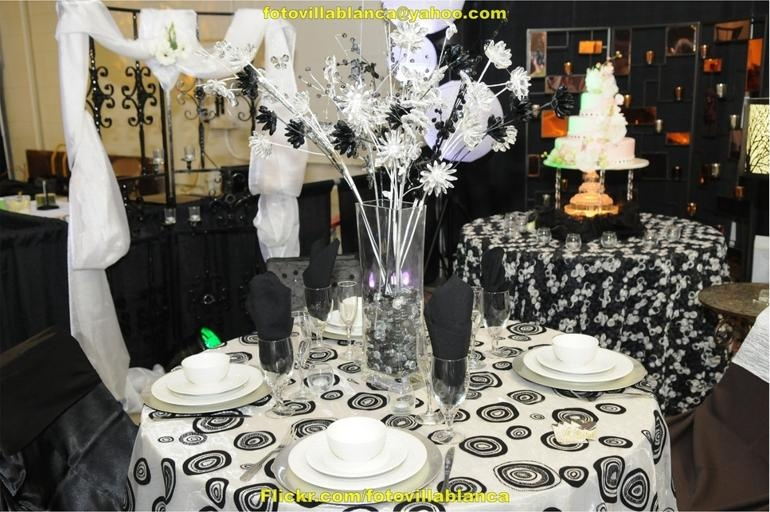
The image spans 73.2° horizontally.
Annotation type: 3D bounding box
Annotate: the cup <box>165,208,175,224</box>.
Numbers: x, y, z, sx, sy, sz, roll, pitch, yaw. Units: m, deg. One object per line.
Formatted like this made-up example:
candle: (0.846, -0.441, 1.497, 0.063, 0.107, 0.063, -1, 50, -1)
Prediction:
cup: (-1.841, -0.327, 4.420, 0.121, 0.127, 0.097, -2, 6, -38)

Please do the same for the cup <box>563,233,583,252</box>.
cup: (1.375, -0.090, 3.766, 0.127, 0.131, 0.130, -3, 5, 0)

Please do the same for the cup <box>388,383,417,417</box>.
cup: (0.064, 0.547, 1.957, 0.088, 0.087, 0.089, -1, 5, 0)

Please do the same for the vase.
vase: (0.049, 0.159, 2.099, 0.314, 0.783, 0.318, 14, 21, 39)

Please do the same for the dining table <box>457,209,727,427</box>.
dining table: (1.602, 0.224, 4.263, 1.589, 1.435, 1.597, -3, 12, 0)

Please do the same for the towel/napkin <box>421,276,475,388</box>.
towel/napkin: (0.207, 0.301, 1.734, 0.143, 0.393, 0.125, -8, 20, -9)

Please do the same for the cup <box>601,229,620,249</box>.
cup: (1.636, -0.116, 3.747, 0.118, 0.116, 0.120, -3, 11, 1)

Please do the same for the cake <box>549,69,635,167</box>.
cake: (1.676, -1.203, 4.399, 0.790, 0.845, 0.773, -6, 16, -10)

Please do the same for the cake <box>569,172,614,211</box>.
cake: (1.762, -0.539, 4.397, 0.415, 0.339, 0.411, -5, 8, -30)

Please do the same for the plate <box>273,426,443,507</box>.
plate: (-0.082, 0.646, 1.596, 0.514, 0.107, 0.267, -6, 15, -14)

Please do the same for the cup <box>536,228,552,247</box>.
cup: (1.206, -0.134, 3.917, 0.137, 0.158, 0.121, -3, 8, 6)

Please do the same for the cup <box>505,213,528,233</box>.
cup: (1.091, -0.267, 4.277, 0.172, 0.151, 0.174, -1, 6, 0)

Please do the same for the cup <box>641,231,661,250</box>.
cup: (1.936, -0.103, 3.762, 0.152, 0.150, 0.155, -1, 4, 0)

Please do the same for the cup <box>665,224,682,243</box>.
cup: (2.189, -0.163, 3.902, 0.132, 0.145, 0.137, 2, 11, 0)

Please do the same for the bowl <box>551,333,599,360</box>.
bowl: (0.761, 0.361, 2.053, 0.123, 0.067, 0.123, -8, 21, 3)

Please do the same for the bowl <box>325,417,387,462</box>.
bowl: (-0.088, 0.576, 1.576, 0.185, 0.091, 0.186, 0, 3, 0)

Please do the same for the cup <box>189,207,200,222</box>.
cup: (-1.647, -0.348, 4.457, 0.109, 0.126, 0.110, 0, 1, 0)
